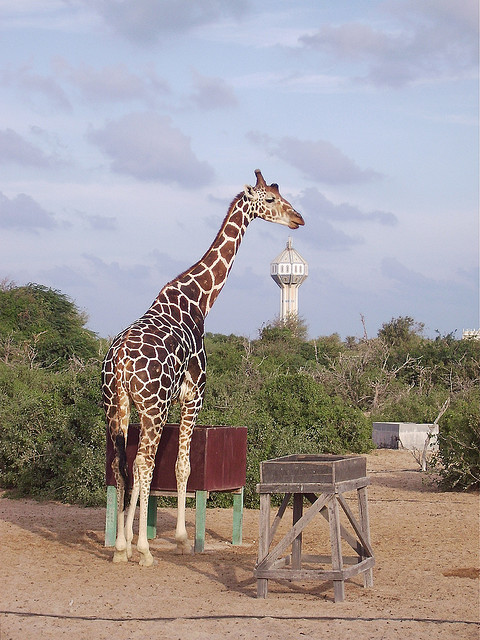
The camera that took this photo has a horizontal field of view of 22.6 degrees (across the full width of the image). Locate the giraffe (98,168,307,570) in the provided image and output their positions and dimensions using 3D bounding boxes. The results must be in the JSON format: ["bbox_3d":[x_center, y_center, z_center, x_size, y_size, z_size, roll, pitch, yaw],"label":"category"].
[{"bbox_3d":[-0.739,0.342,12.990,1.329,4.561,2.420,1,-6,22],"label":"giraffe"}]

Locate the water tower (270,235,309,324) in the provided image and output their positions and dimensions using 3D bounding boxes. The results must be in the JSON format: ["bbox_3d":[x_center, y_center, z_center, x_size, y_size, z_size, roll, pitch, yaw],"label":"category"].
[{"bbox_3d":[3.210,-1.874,76.287,1.785,6.235,1.874,0,2,-27],"label":"water tower"}]
